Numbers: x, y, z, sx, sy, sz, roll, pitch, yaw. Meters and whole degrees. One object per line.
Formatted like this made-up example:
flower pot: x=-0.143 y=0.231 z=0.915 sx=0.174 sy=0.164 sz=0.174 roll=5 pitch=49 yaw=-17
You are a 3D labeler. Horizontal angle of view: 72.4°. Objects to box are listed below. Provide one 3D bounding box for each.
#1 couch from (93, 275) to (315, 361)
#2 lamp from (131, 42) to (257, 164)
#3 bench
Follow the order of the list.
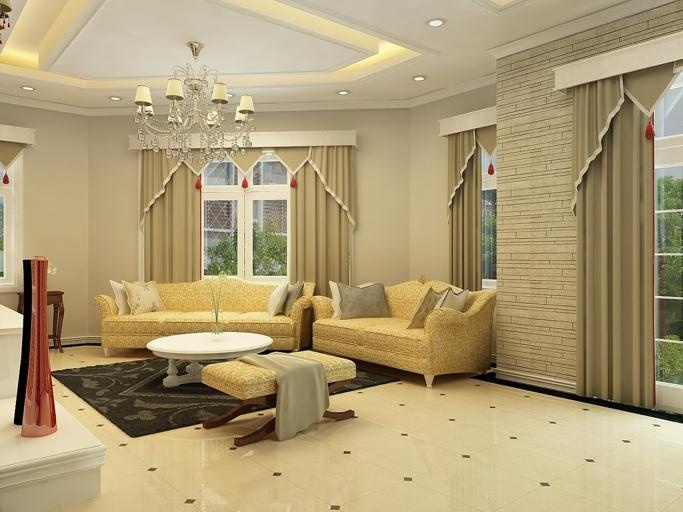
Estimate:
couch: x=-1.833 y=0.777 z=6.299 sx=2.765 sy=0.889 sz=0.789 roll=1 pitch=4 yaw=0
lamp: x=-1.566 y=-1.663 z=5.014 sx=1.233 sy=1.144 sz=1.164 roll=0 pitch=3 yaw=-22
bench: x=-0.612 y=0.900 z=3.766 sx=1.073 sy=0.437 sz=0.636 roll=2 pitch=-1 yaw=-44
